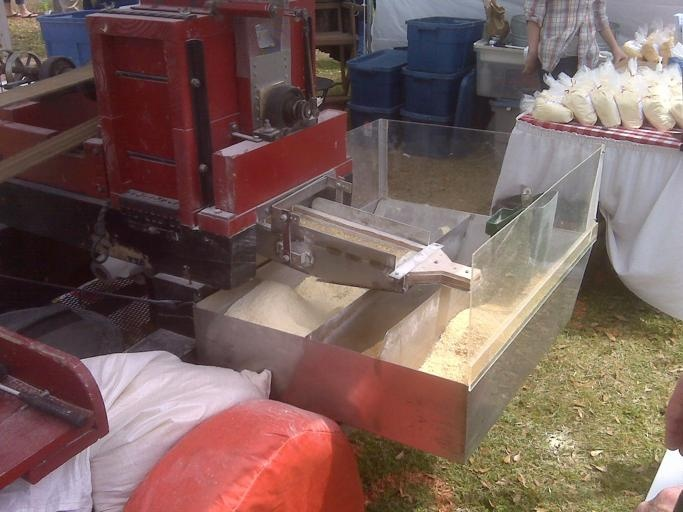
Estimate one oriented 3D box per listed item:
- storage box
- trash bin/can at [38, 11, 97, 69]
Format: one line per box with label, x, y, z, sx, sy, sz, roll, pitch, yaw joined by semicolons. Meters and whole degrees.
storage box;0.656;-1.525;5.157;1.434;1.384;2.114;12;26;30
trash bin/can;-2.863;-2.271;5.715;0.800;0.514;0.373;23;36;34
